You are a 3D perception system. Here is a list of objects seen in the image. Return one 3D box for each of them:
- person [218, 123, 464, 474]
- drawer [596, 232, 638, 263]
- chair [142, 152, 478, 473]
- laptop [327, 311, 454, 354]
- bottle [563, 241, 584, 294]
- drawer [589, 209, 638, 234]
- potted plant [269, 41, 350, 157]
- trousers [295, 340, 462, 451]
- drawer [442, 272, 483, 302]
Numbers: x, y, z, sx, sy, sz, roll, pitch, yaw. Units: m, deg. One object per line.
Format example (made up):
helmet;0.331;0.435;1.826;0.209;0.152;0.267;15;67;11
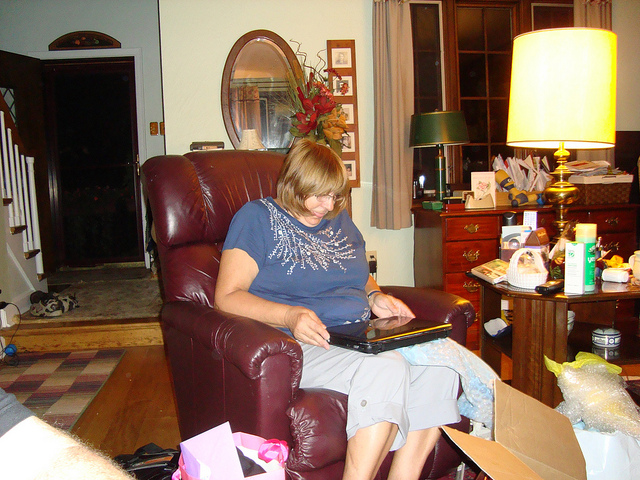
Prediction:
person;0.038;0.259;2.016;0.731;1.240;0.783;-6;14;-29
drawer;1.751;0.040;3.134;0.176;0.184;0.099;1;3;-3
chair;-0.045;0.131;2.567;1.220;1.532;1.347;-1;2;-29
laptop;0.228;0.344;2.038;0.451;0.095;0.316;-3;13;-18
bottle;1.041;0.120;2.163;0.083;0.206;0.057;6;13;25
drawer;1.927;-0.086;3.528;0.343;0.202;0.230;-1;-1;-4
potted plant;-0.055;-0.870;3.430;0.384;0.597;0.314;34;39;26
trousers;0.219;0.439;1.924;0.459;0.209;0.450;2;4;-39
drawer;0.814;0.267;3.066;0.200;0.202;0.099;-2;10;-22
